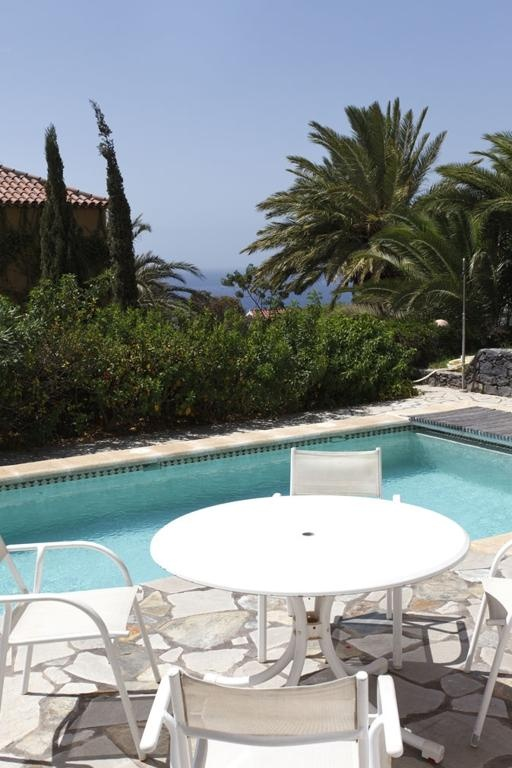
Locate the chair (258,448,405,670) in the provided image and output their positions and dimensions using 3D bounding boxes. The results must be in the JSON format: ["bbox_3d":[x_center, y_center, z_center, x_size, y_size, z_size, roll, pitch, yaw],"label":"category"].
[{"bbox_3d":[0.397,0.773,3.091,0.793,1.248,0.864,0,3,5],"label":"chair"}]
